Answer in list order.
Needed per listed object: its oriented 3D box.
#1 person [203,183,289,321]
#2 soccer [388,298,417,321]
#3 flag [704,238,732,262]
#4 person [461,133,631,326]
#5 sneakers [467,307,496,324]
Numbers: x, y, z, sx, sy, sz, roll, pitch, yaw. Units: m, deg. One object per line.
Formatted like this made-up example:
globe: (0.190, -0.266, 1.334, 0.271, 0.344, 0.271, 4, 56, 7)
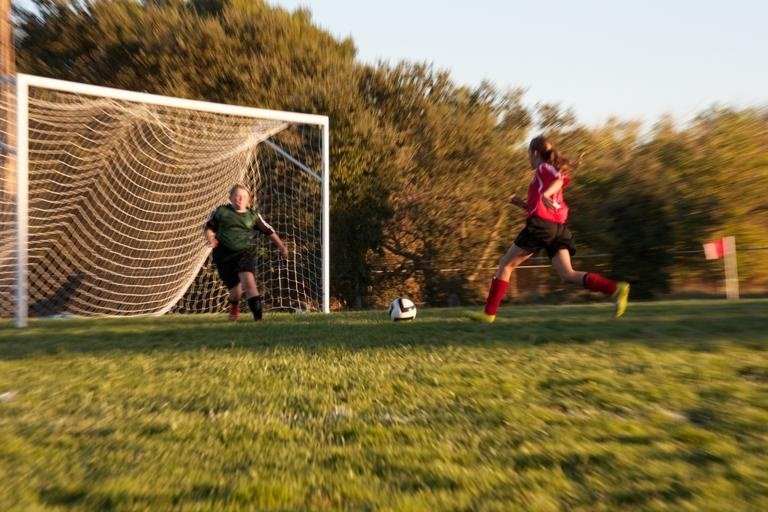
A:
person: (-1.877, 0.005, 6.690, 0.952, 1.816, 0.639, -10, 13, -37)
soccer: (0.230, 0.656, 6.299, 0.300, 0.254, 0.296, -3, 9, -5)
flag: (6.123, -0.116, 9.335, 0.298, 0.409, 0.460, -16, 16, 47)
person: (1.714, -0.237, 5.369, 1.534, 1.989, 0.480, -1, 10, 6)
sneakers: (1.084, 0.666, 5.772, 0.336, 0.125, 0.149, 10, -8, 13)
